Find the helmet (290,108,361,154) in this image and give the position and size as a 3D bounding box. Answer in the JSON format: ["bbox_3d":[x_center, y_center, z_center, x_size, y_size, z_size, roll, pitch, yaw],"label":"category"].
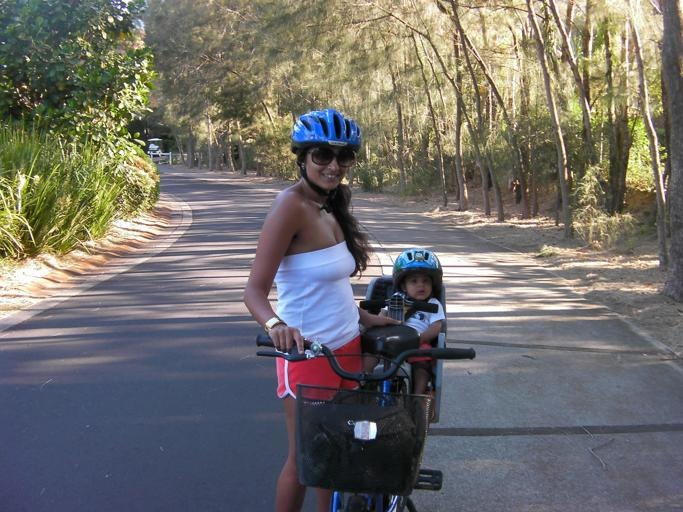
[{"bbox_3d":[-0.093,-0.754,3.928,0.383,0.334,0.581,-1,4,-15],"label":"helmet"}]

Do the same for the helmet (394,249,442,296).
[{"bbox_3d":[0.618,0.110,5.315,0.308,0.446,0.443,0,1,-6],"label":"helmet"}]

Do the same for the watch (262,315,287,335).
[{"bbox_3d":[-0.344,0.361,3.428,0.112,0.113,0.078,-24,56,-33],"label":"watch"}]

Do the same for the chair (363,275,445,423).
[{"bbox_3d":[0.486,0.576,5.163,0.560,1.241,0.722,-2,-34,15],"label":"chair"}]
